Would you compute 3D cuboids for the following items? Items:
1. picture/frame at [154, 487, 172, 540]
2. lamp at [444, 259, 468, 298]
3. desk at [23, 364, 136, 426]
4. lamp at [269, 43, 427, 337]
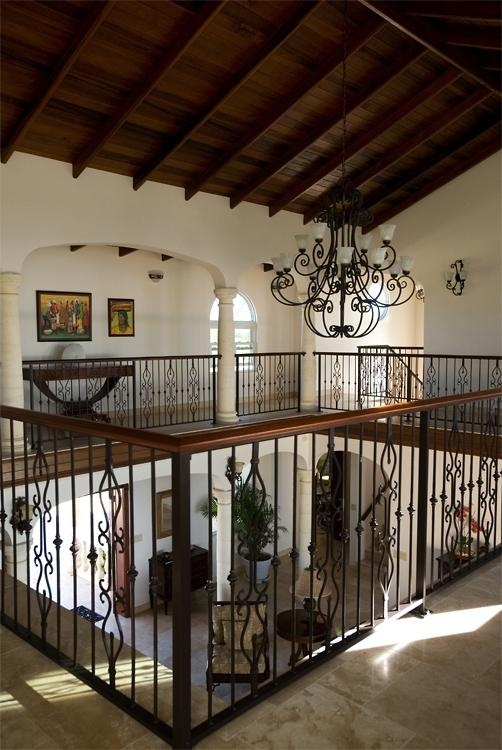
[{"bbox_3d":[-1.504,2.388,9.638,0.157,0.880,0.370,1,4,34],"label":"picture/frame"},{"bbox_3d":[3.326,-1.584,9.120,0.321,0.607,0.159,0,3,26],"label":"lamp"},{"bbox_3d":[-2.423,0.293,7.873,1.242,0.969,0.737,-3,10,-21],"label":"desk"},{"bbox_3d":[0.837,-1.918,5.049,1.272,3.100,1.487,2,2,-3],"label":"lamp"}]
